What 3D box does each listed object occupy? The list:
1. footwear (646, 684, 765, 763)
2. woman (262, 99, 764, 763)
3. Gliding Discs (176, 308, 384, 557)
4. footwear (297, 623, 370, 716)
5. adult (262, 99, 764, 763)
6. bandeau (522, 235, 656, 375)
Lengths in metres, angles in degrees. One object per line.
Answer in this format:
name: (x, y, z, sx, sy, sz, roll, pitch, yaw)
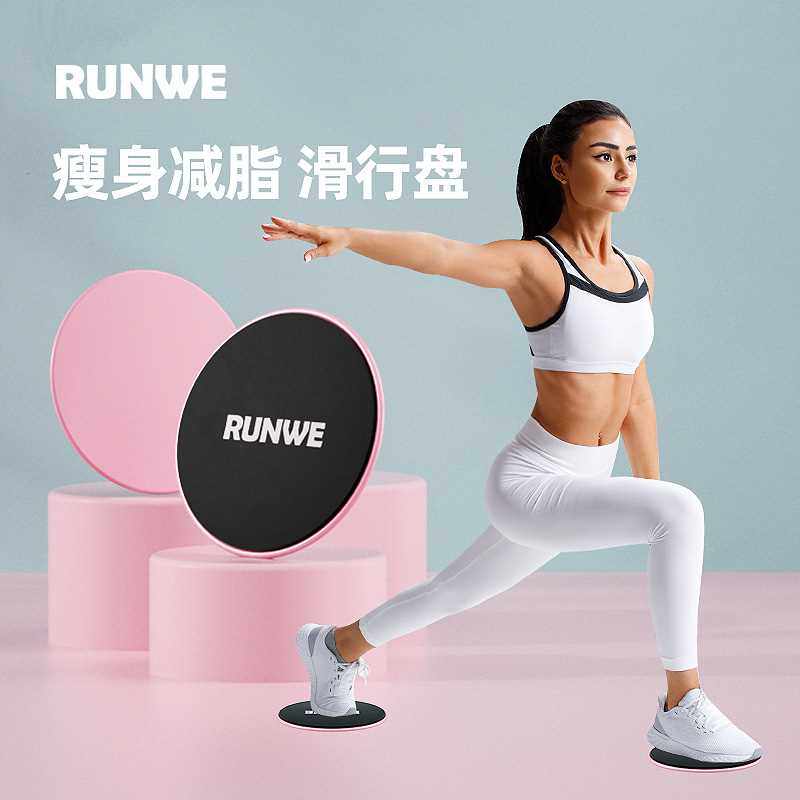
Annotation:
footwear: (0.592, 0.659, 1.995, 0.111, 0.148, 0.237, 34, -24, -35)
woman: (0.231, 0.082, 2.039, 1.077, 1.403, 0.744, 2, -1, 29)
Gliding Discs: (-0.328, 0.117, 2.740, 0.076, 0.812, 0.703, 15, -11, -42)
footwear: (-0.171, 0.635, 2.340, 0.108, 0.285, 0.096, -24, -13, 33)
adult: (0.238, 0.090, 2.076, 1.005, 1.386, 0.683, 2, 4, 34)
bandeau: (0.399, -0.203, 2.120, 0.322, 0.313, 0.197, 2, -5, -29)
